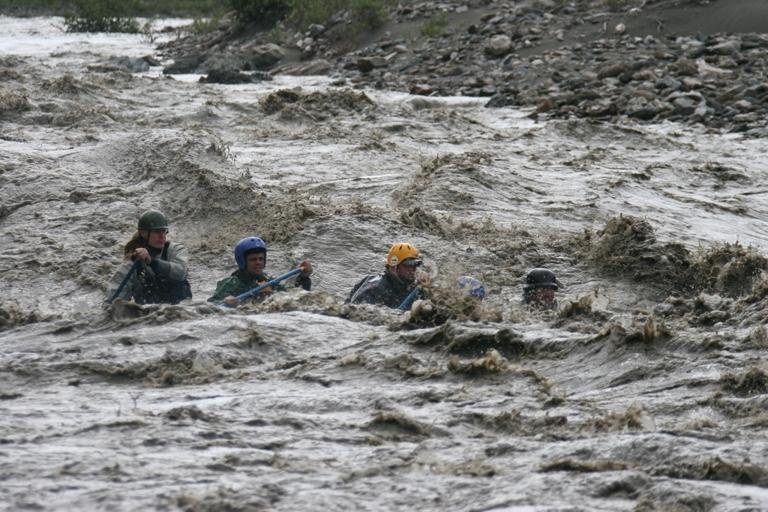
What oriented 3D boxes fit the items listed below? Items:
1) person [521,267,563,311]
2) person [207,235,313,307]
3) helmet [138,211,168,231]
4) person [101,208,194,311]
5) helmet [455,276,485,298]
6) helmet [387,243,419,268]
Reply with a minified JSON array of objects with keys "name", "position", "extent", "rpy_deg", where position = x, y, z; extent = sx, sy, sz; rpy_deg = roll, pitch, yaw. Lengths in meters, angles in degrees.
[{"name":"person","position":[3.431,0.689,32.312],"extent":[0.879,0.870,0.991],"rpy_deg":[-5,0,-14]},{"name":"person","position":[-2.677,0.377,32.158],"extent":[2.028,0.715,1.571],"rpy_deg":[40,29,28]},{"name":"helmet","position":[-4.984,-0.782,31.830],"extent":[0.565,0.225,0.408],"rpy_deg":[6,8,15]},{"name":"person","position":[-5.038,0.031,31.678],"extent":[1.624,1.911,0.849],"rpy_deg":[-3,18,-8]},{"name":"helmet","position":[1.840,0.622,30.587],"extent":[0.508,0.339,0.512],"rpy_deg":[14,6,-38]},{"name":"helmet","position":[0.365,-0.046,31.675],"extent":[0.682,0.448,0.477],"rpy_deg":[16,-11,-3]}]
